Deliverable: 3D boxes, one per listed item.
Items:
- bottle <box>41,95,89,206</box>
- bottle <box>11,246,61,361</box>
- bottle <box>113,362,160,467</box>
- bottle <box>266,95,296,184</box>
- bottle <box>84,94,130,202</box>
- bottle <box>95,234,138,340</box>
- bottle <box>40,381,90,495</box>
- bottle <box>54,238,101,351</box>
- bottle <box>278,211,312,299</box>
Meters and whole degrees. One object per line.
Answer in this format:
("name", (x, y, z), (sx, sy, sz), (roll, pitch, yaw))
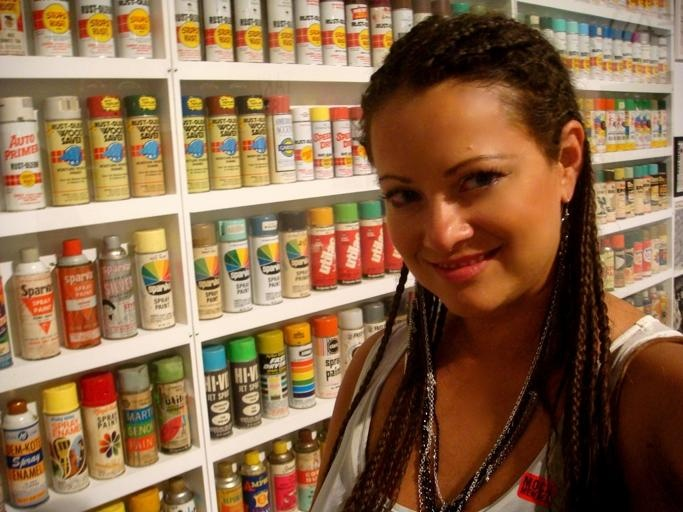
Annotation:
("bottle", (-0.674, -0.257, 1.263), (0.102, 0.258, 0.087), (-12, 16, -24))
("bottle", (-0.752, 0.116, 1.254), (0.096, 0.259, 0.093), (-5, 15, 1))
("bottle", (-0.568, 0.444, 1.419), (0.137, 0.247, 0.131), (-8, -7, -1))
("bottle", (-0.185, -0.346, 1.541), (0.065, 0.252, 0.071), (-5, 15, 1))
("bottle", (-0.591, -0.274, 1.303), (0.098, 0.259, 0.099), (-5, 15, 1))
("bottle", (-0.591, 0.082, 1.341), (0.098, 0.258, 0.087), (-12, 16, -22))
("bottle", (-0.702, 0.461, 1.305), (0.102, 0.253, 0.100), (-5, 15, 1))
("bottle", (-0.675, 0.096, 1.298), (0.102, 0.262, 0.098), (-5, 15, 1))
("bottle", (-0.149, -0.005, 1.610), (0.090, 0.261, 0.075), (-5, 15, 2))
